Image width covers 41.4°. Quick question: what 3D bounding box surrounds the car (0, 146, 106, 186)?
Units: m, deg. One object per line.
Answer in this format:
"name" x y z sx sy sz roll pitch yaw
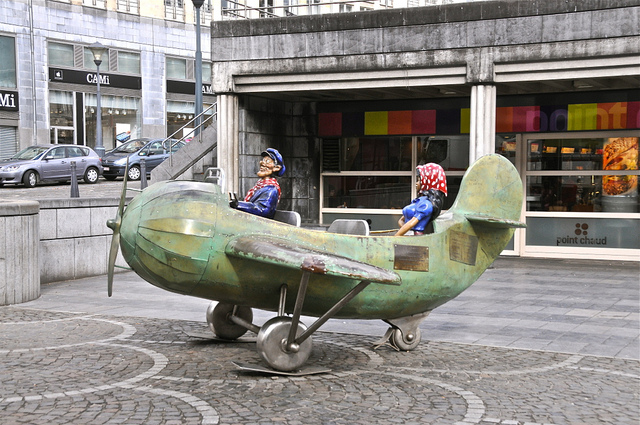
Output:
"car" -10.116 -1.711 31.475 1.118 1.404 3.913 12 17 42

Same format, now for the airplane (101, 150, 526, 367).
"airplane" -0.116 0.646 12.049 3.940 1.715 4.026 5 -3 -16
